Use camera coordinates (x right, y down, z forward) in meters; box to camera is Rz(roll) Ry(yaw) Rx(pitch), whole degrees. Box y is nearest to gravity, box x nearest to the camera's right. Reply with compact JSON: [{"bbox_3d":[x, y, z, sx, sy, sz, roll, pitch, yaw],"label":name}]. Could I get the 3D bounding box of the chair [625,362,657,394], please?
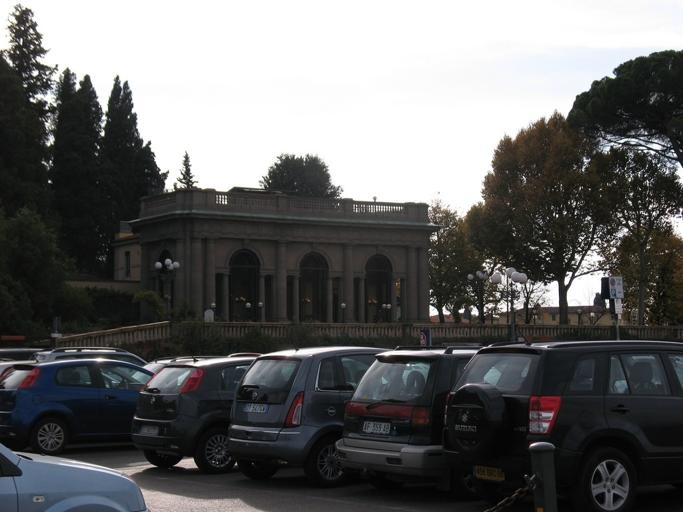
[{"bbox_3d":[4.384,1.744,14.077,0.367,0.547,0.463,1,8,6],"label":"chair"}]
